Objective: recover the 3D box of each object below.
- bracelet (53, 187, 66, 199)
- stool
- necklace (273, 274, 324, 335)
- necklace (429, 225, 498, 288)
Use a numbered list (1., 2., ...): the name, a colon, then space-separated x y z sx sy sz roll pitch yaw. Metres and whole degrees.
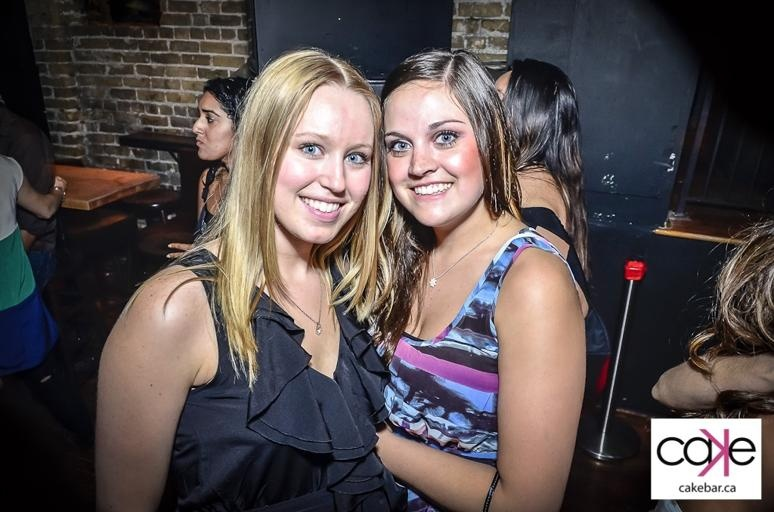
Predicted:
1. bracelet: -2.316 -0.447 3.724 0.063 0.046 0.070 4 -9 15
2. stool: -2.297 -0.009 4.704 1.088 1.436 0.987 6 15 17
3. necklace: -0.397 0.219 2.316 0.232 0.283 0.027 -10 -1 -41
4. necklace: 0.342 0.057 2.465 0.031 0.472 0.156 14 30 -48
